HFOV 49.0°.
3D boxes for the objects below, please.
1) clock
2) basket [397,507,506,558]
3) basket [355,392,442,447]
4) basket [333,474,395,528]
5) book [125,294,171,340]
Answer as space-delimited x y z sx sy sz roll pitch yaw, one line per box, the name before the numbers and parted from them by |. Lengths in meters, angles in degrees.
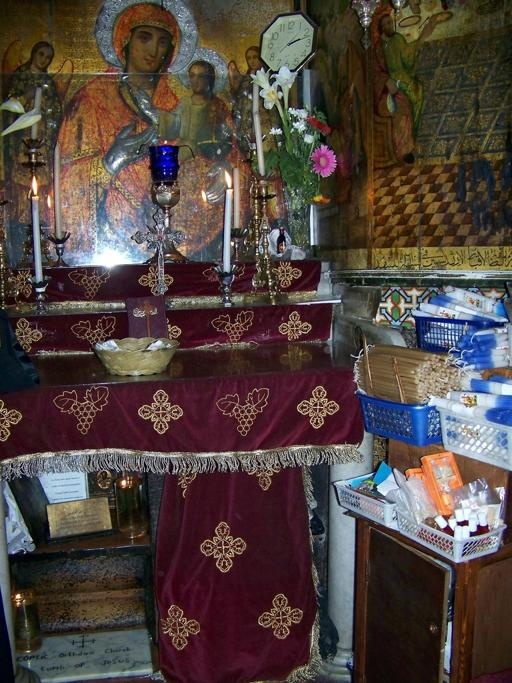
clock | 0.146 -1.390 2.617 0.293 0.249 0.090 5 13 42
basket | 0.414 0.408 1.231 0.096 0.048 0.145 -6 16 -19
basket | 0.340 0.176 1.369 0.123 0.079 0.178 -4 4 -39
basket | 0.298 0.412 1.443 0.088 0.036 0.110 -9 12 -28
book | -0.348 -0.078 1.796 0.136 0.137 0.034 -7 -5 -18
